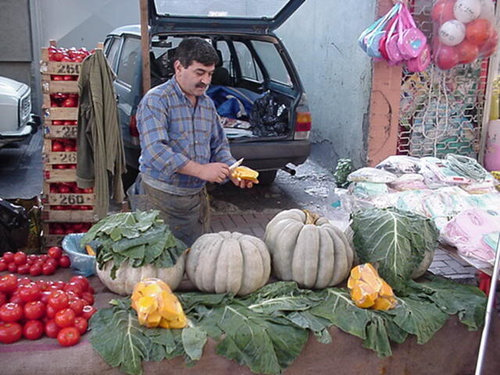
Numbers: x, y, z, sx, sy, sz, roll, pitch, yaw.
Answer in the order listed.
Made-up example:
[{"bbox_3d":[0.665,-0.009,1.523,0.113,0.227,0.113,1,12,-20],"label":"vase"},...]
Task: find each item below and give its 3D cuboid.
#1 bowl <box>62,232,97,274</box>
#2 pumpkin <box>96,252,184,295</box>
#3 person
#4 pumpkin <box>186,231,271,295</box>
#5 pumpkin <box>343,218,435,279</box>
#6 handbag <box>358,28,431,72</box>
[{"bbox_3d":[-1.110,0.444,2.223,0.271,0.127,0.278,5,23,-2],"label":"bowl"},{"bbox_3d":[-0.609,0.485,1.913,0.286,0.180,0.286,0,3,32],"label":"pumpkin"},{"bbox_3d":[-0.575,-0.291,2.919,0.907,1.799,0.784,0,6,-3],"label":"person"},{"bbox_3d":[-0.122,0.434,1.964,0.357,0.253,0.366,6,5,39],"label":"pumpkin"},{"bbox_3d":[1.081,0.419,2.316,0.404,0.334,0.453,1,7,4],"label":"pumpkin"},{"bbox_3d":[2.117,-2.111,5.084,0.805,0.656,0.364,18,39,37],"label":"handbag"}]
